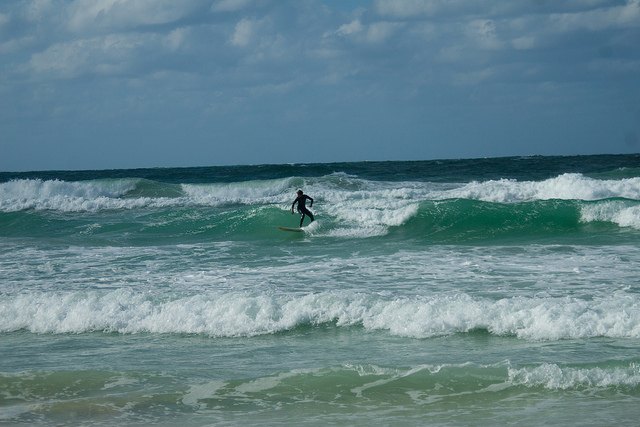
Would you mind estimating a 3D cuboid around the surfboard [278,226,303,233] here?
[{"bbox_3d":[-0.916,0.509,28.494,1.036,0.082,0.134,4,-3,-17],"label":"surfboard"}]
